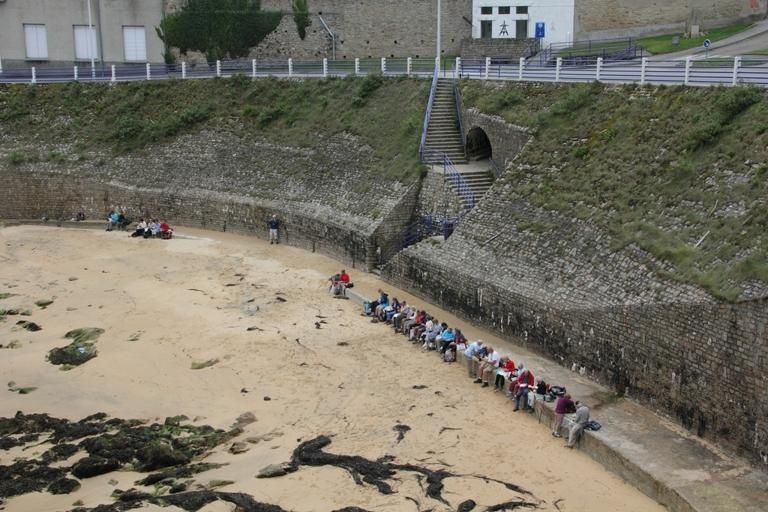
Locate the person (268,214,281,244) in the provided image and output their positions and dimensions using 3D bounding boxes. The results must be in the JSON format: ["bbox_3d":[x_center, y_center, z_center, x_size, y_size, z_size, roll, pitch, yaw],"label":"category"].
[{"bbox_3d":[-5.591,-1.381,42.797,0.536,1.469,0.476,1,14,-5],"label":"person"}]

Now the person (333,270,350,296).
[{"bbox_3d":[-1.862,1.181,36.289,0.693,1.023,0.938,-5,15,-26],"label":"person"}]
